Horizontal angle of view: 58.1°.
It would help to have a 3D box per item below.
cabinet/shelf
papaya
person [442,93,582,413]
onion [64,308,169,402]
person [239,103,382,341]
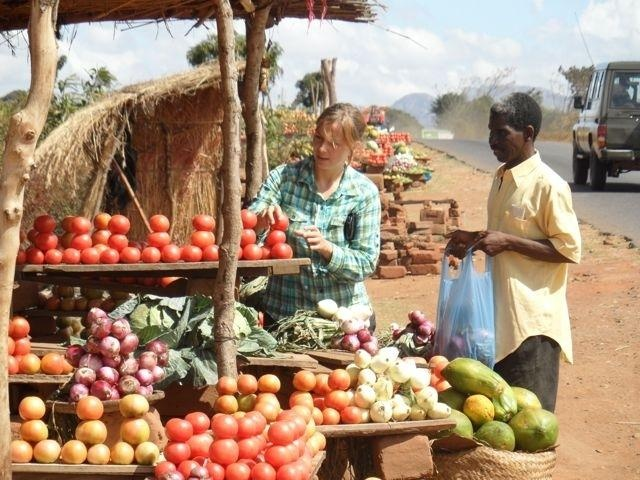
[{"bbox_3d":[-1.111,0.401,3.846,1.498,0.762,1.088,-1,9,-22],"label":"cabinet/shelf"},{"bbox_3d":[1.085,1.009,3.522,0.659,0.487,0.449,-1,13,-6],"label":"papaya"},{"bbox_3d":[1.341,0.066,4.003,0.822,2.065,0.811,-1,4,-12],"label":"person"},{"bbox_3d":[-1.066,0.544,3.116,0.586,0.427,0.547,-5,14,-40],"label":"onion"},{"bbox_3d":[0.002,-0.178,4.081,0.805,1.802,0.754,0,2,11],"label":"person"}]
